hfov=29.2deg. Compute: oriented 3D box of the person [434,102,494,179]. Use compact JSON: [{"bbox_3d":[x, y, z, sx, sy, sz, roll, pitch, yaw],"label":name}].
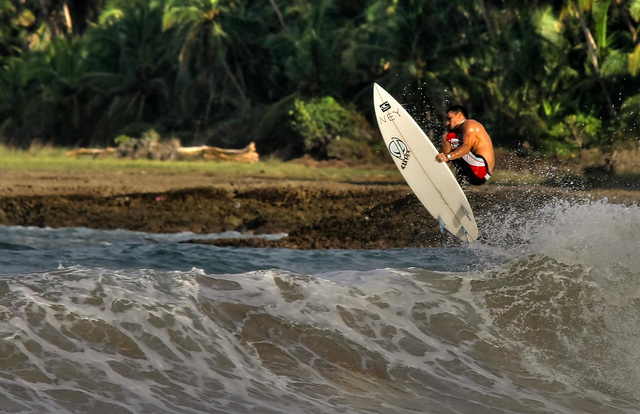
[{"bbox_3d":[3.419,-1.493,28.429,1.243,1.607,0.673,2,10,6],"label":"person"}]
